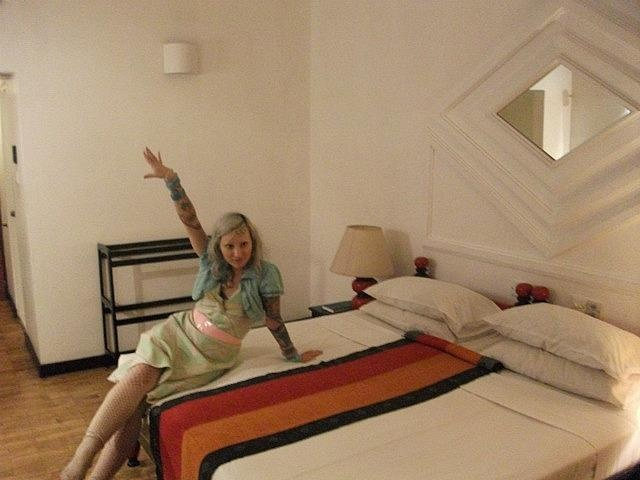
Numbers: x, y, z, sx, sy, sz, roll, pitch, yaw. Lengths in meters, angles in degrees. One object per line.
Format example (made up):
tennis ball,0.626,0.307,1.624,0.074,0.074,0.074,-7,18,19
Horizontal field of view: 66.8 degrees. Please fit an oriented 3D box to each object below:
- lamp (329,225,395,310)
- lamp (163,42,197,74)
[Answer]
lamp,0.342,0.235,3.584,0.578,0.541,0.518,4,1,20
lamp,-1.086,-1.373,3.682,0.300,0.210,0.139,0,15,-13
